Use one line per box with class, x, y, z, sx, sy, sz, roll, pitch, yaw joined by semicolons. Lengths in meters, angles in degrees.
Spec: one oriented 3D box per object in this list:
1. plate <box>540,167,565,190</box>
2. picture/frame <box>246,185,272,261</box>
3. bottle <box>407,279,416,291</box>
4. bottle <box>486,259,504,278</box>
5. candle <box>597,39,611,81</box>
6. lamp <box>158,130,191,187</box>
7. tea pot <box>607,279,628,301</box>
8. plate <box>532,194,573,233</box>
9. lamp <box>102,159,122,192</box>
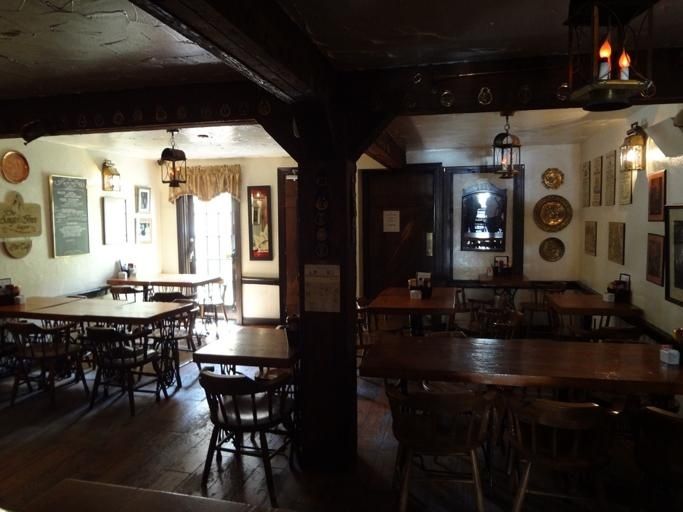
plate;2.953;-1.077;7.411;0.301;0.302;0.072;0;11;5
picture/frame;-1.271;-0.512;8.273;0.391;1.124;0.212;-1;11;4
bottle;0.832;0.344;6.344;0.121;0.170;0.118;0;13;0
bottle;2.199;0.166;7.502;0.232;0.261;0.271;2;1;25
candle;1.286;-0.949;2.596;0.053;0.191;0.081;3;12;24
lamp;-2.202;-1.332;6.942;0.326;0.305;0.884;-2;-37;-18
tea pot;2.855;0.364;5.571;0.179;0.271;0.196;6;-2;0
plate;2.963;-0.590;7.435;0.498;0.517;0.128;-1;11;5
lamp;-3.235;-1.127;7.527;0.195;0.450;0.350;0;11;10
